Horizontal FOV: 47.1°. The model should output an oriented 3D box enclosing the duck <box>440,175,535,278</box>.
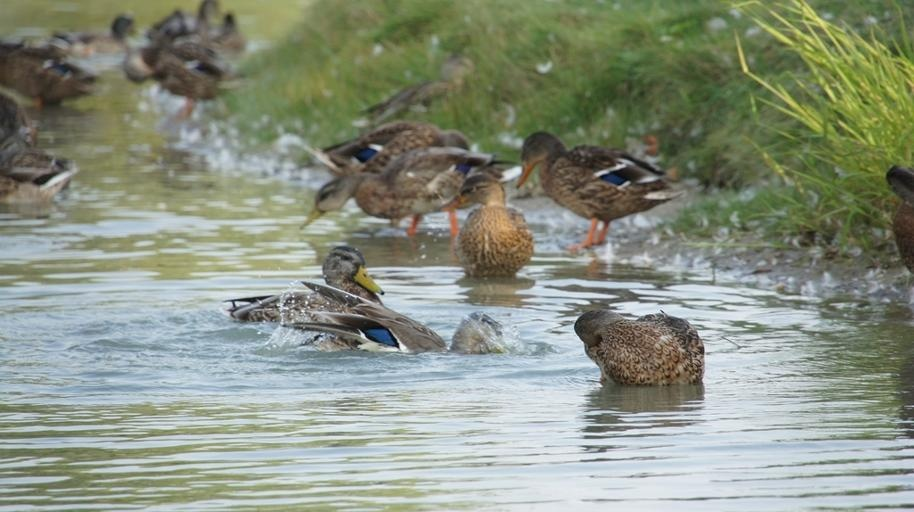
[{"bbox_3d":[0.395,-0.403,13.472,0.844,1.288,0.900,-1,10,-19],"label":"duck"}]
